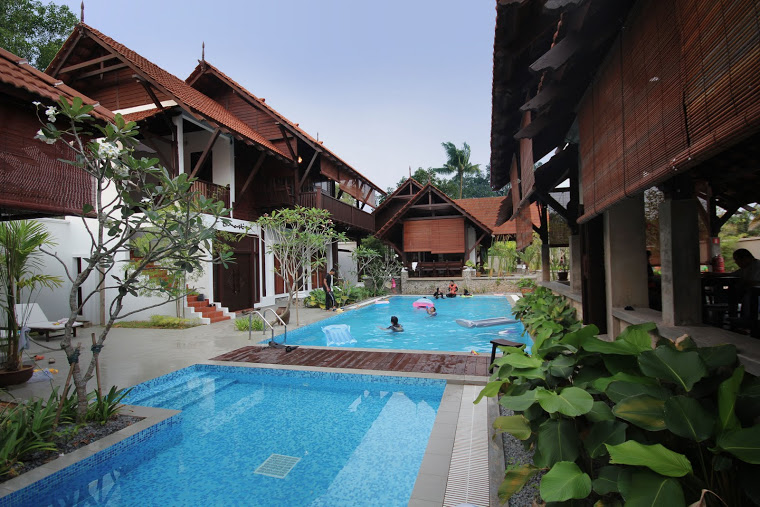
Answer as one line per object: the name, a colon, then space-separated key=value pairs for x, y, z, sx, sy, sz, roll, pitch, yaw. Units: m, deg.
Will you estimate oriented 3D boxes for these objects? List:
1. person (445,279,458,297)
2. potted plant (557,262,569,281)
person: x=3.486 y=1.731 z=23.250 sx=0.619 sy=1.057 sz=0.747 roll=4 pitch=-4 yaw=-32
potted plant: x=5.638 y=0.555 z=14.597 sx=0.445 sy=0.551 sz=0.515 roll=-1 pitch=1 yaw=38
